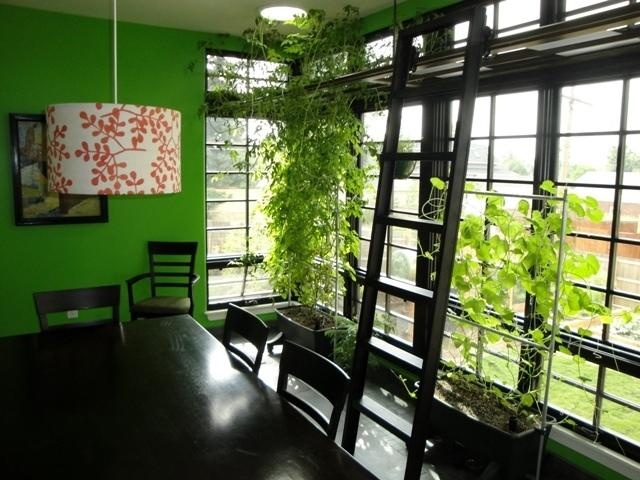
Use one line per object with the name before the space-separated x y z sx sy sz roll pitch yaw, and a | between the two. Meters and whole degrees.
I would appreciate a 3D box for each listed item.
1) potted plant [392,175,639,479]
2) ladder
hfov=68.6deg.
potted plant | 1.334 0.605 3.039 0.729 1.860 1.680 -10 16 -33
ladder | 0.487 0.053 2.668 0.580 2.593 0.653 9 14 38
